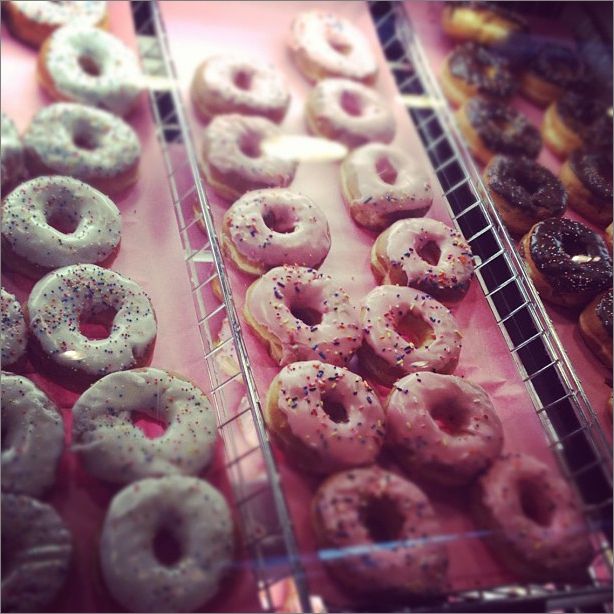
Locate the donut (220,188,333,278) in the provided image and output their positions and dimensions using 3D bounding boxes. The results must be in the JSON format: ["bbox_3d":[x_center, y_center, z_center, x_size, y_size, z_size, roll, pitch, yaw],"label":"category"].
[{"bbox_3d":[-0.109,-0.271,2.534,0.383,0.126,0.322,-9,57,-22],"label":"donut"}]

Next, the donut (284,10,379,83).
[{"bbox_3d":[0.107,-1.040,2.926,0.357,0.160,0.308,7,52,-11],"label":"donut"}]

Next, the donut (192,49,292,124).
[{"bbox_3d":[-0.251,-0.830,2.742,0.376,0.111,0.291,-1,54,-17],"label":"donut"}]

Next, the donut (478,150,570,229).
[{"bbox_3d":[0.841,-0.460,2.823,0.339,0.099,0.276,-2,60,-18],"label":"donut"}]

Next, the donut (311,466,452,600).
[{"bbox_3d":[0.192,0.588,1.892,0.328,0.142,0.334,10,52,-9],"label":"donut"}]

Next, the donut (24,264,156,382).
[{"bbox_3d":[-0.669,0.055,2.175,0.368,0.129,0.340,-2,52,-45],"label":"donut"}]

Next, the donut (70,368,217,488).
[{"bbox_3d":[-0.439,0.326,1.999,0.394,0.084,0.360,0,53,-16],"label":"donut"}]

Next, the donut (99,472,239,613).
[{"bbox_3d":[-0.347,0.602,1.823,0.330,0.102,0.305,3,53,-14],"label":"donut"}]

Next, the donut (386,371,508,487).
[{"bbox_3d":[0.414,0.363,2.181,0.394,0.126,0.325,-16,57,-22],"label":"donut"}]

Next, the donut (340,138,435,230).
[{"bbox_3d":[0.293,-0.451,2.686,0.385,0.128,0.322,10,61,-23],"label":"donut"}]

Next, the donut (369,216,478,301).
[{"bbox_3d":[0.431,-0.174,2.611,0.339,0.113,0.318,4,53,-14],"label":"donut"}]

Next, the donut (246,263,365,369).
[{"bbox_3d":[-0.002,0.022,2.331,0.379,0.129,0.330,15,42,-25],"label":"donut"}]

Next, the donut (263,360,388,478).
[{"bbox_3d":[0.066,0.330,2.137,0.321,0.095,0.333,1,53,-15],"label":"donut"}]
